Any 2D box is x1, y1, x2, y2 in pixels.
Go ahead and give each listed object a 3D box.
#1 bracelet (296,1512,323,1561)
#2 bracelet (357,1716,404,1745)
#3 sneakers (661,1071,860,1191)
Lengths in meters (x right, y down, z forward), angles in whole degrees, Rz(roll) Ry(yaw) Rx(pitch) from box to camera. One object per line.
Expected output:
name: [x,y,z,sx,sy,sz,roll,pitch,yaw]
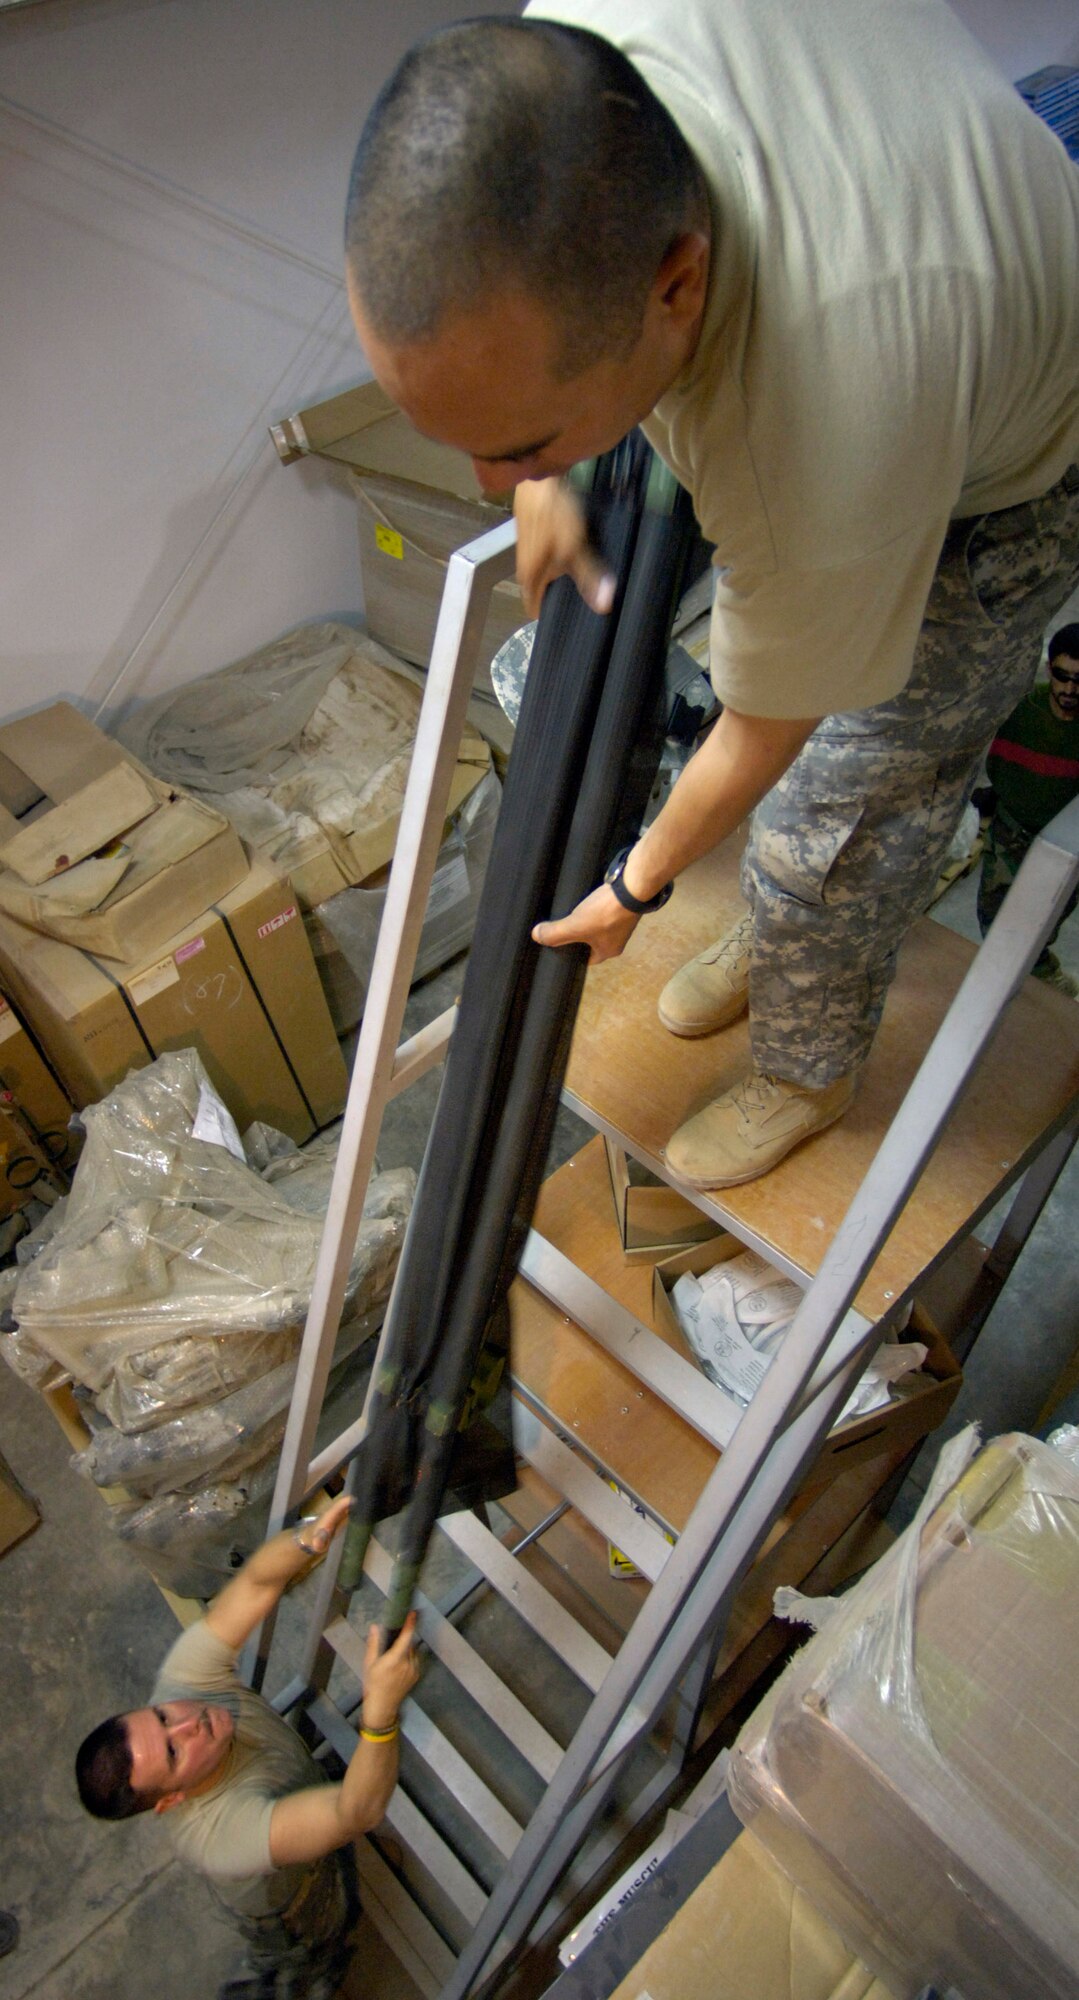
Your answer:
bracelet: [-0.323,0.745,1.839,0.023,0.055,0.077,5,38,-14]
bracelet: [-0.212,0.978,1.748,0.044,0.019,0.044,-3,52,11]
sneakers: [0.225,0.142,1.407,0.220,0.092,0.096,-32,71,1]
